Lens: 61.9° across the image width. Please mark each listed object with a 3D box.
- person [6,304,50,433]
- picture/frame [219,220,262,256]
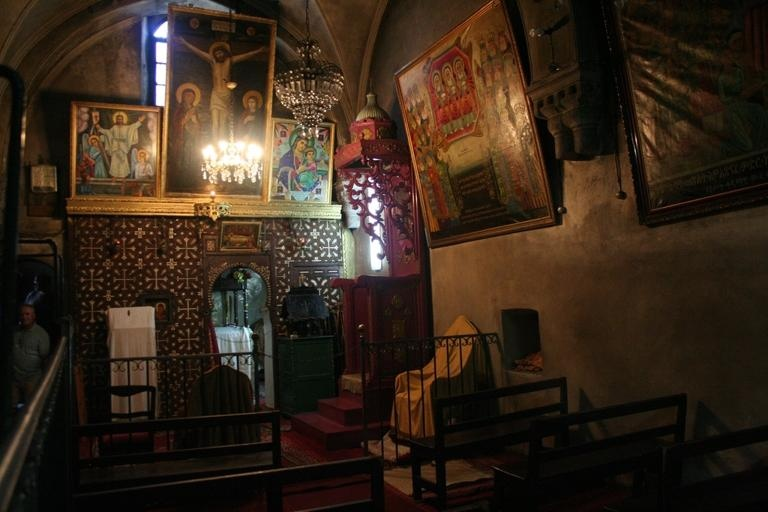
[{"bbox_3d":[-5.383,1.733,9.588,0.723,1.991,0.579,3,7,5],"label":"person"},{"bbox_3d":[-2.919,-0.390,12.834,0.709,0.600,0.069,-1,6,-30],"label":"picture/frame"}]
